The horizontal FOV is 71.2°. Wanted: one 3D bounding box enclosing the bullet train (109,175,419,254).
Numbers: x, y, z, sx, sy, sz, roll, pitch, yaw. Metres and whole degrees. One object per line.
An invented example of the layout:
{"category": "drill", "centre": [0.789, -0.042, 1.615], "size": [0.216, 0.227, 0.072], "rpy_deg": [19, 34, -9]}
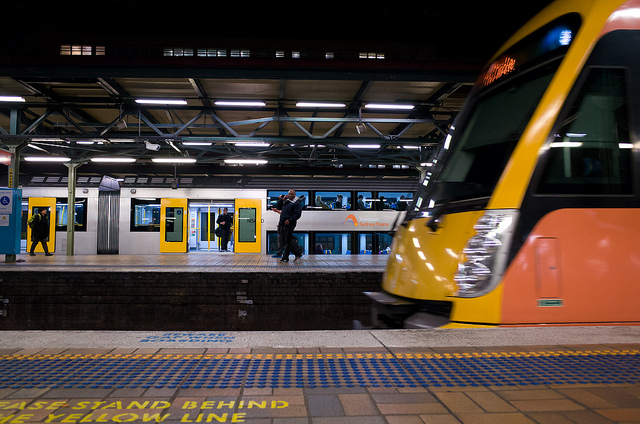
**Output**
{"category": "bullet train", "centre": [-1.775, -0.020, 19.068], "size": [12.022, 2.241, 2.258], "rpy_deg": [0, 7, -3]}
